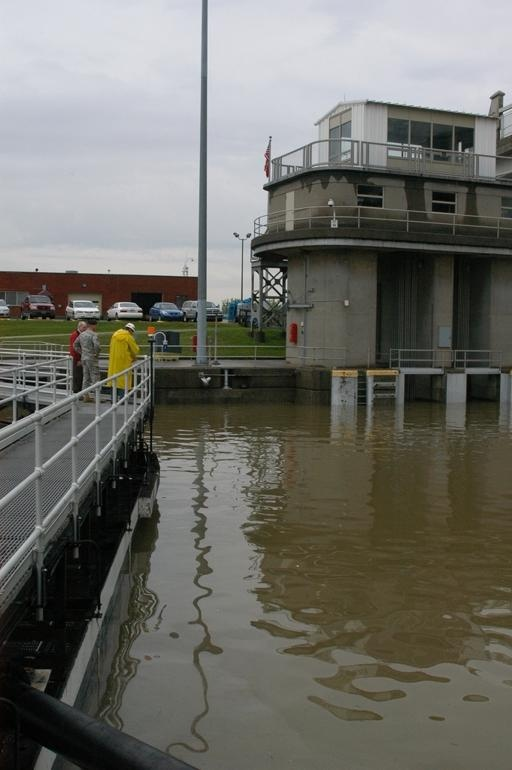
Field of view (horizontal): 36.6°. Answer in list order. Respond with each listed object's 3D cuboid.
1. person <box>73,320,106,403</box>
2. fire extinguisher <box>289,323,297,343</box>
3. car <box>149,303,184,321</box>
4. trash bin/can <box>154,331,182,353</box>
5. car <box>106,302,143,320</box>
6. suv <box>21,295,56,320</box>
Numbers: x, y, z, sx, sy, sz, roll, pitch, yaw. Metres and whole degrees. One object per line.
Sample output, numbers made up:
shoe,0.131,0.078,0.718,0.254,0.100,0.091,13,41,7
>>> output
person,-3.166,-0.410,14.386,0.399,1.558,1.558,0,3,-14
fire extinguisher,1.359,-1.873,28.537,0.357,0.801,0.239,2,3,23
car,-5.328,-4.324,46.710,1.425,1.125,2.244,-1,4,-30
trash bin/can,-3.533,-1.663,30.571,0.978,0.996,0.536,0,15,-2
car,-7.835,-4.344,46.138,1.244,1.061,1.978,-2,5,-38
suv,-13.040,-4.629,46.307,1.105,1.127,2.247,-2,1,-23
